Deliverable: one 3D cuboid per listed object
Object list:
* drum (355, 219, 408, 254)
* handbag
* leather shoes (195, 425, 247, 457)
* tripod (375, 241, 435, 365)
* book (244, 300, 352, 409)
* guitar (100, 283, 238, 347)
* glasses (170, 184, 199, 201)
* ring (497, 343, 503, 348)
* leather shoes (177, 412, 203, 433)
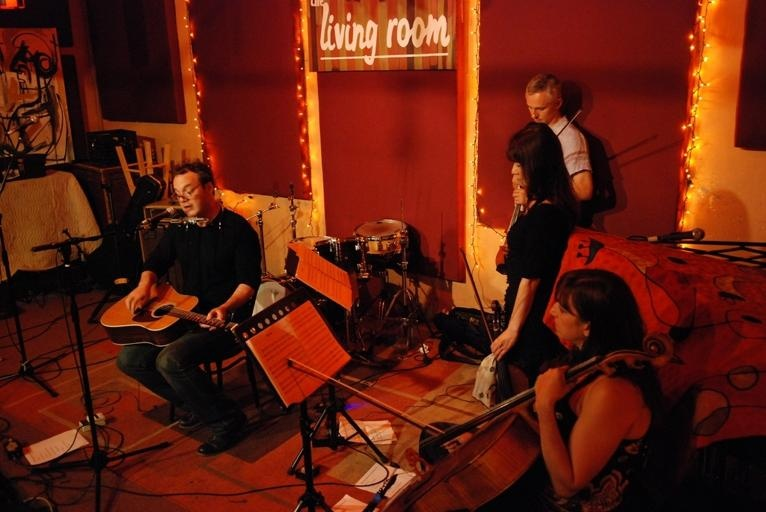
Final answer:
[{"bbox_3d":[-0.012,-0.116,5.334,0.428,0.290,0.447,-3,18,1],"label":"drum"},{"bbox_3d":[0.657,0.675,5.016,0.492,0.223,0.504,8,25,-18],"label":"handbag"},{"bbox_3d":[-1.121,1.297,4.411,0.365,0.152,0.128,-11,23,-40],"label":"leather shoes"},{"bbox_3d":[0.213,0.424,5.569,0.505,0.895,0.594,-9,31,-10],"label":"tripod"},{"bbox_3d":[-0.502,0.548,3.575,0.588,0.549,0.134,-36,2,-40],"label":"book"},{"bbox_3d":[-1.490,0.475,4.387,0.952,0.171,0.533,13,28,10],"label":"guitar"},{"bbox_3d":[-1.402,-0.442,4.462,0.204,0.107,0.060,3,18,20],"label":"glasses"},{"bbox_3d":[0.715,0.547,3.829,0.030,0.008,0.032,-6,20,2],"label":"ring"},{"bbox_3d":[-1.422,1.210,4.696,0.115,0.116,0.282,4,6,10],"label":"leather shoes"}]
